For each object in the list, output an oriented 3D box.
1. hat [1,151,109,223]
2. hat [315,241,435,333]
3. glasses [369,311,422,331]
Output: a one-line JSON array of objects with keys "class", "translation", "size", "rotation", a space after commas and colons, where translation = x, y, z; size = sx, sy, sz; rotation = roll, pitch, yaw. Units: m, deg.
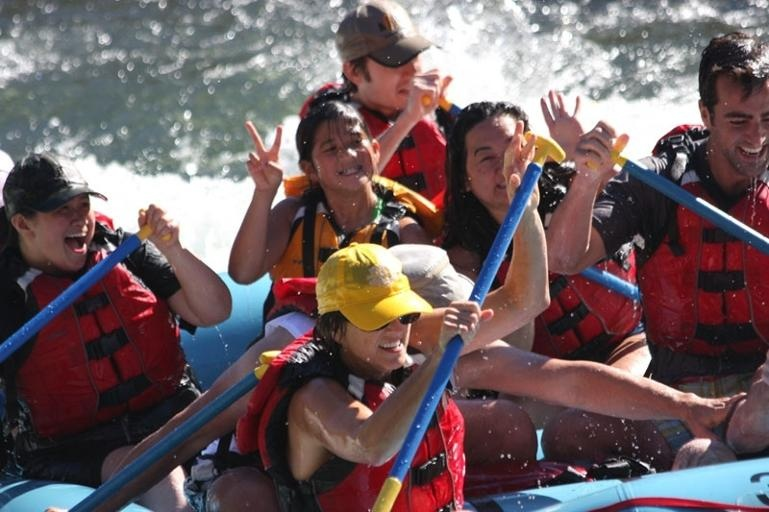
[{"class": "hat", "translation": [-1.535, -0.320, 4.288], "size": [0.390, 0.214, 0.286], "rotation": [-20, 3, 19]}, {"class": "hat", "translation": [-0.044, 0.094, 3.470], "size": [0.398, 0.229, 0.283], "rotation": [10, 18, 34]}, {"class": "glasses", "translation": [0.073, 0.237, 3.422], "size": [0.086, 0.029, 0.110], "rotation": [-16, -18, -46]}]
